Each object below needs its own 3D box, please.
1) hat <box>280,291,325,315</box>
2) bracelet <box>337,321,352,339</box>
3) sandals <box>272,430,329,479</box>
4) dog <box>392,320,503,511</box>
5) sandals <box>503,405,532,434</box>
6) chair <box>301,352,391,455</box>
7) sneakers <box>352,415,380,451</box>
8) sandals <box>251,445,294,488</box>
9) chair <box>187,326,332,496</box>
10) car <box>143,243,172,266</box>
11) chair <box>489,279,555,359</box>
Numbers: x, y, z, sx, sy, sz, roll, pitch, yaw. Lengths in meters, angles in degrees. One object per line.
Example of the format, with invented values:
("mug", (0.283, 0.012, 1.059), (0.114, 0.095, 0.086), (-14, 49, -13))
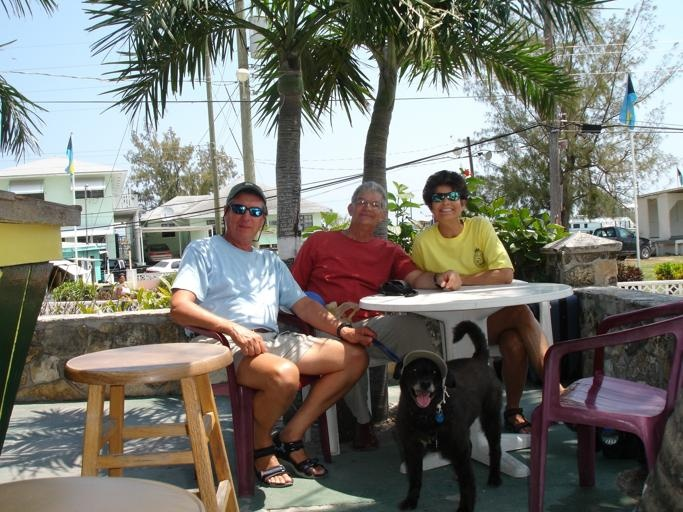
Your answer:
("hat", (-0.295, 0.344, 3.793), (0.196, 0.239, 0.180), (-2, 45, -30))
("bracelet", (0.012, 0.477, 3.471), (0.077, 0.047, 0.106), (28, 35, -11))
("sandals", (-0.296, 1.253, 3.315), (0.387, 0.179, 0.177), (14, 7, 29))
("dog", (0.617, 0.888, 2.984), (0.419, 0.971, 0.722), (0, 1, 37))
("sandals", (1.206, 1.158, 3.692), (0.100, 0.116, 0.305), (-1, -5, -10))
("chair", (0.054, 1.090, 4.238), (0.607, 1.099, 0.593), (1, 0, -17))
("sneakers", (0.189, 1.330, 3.900), (0.123, 0.244, 0.247), (-3, -12, 9))
("sandals", (-0.420, 1.266, 3.128), (0.129, 0.147, 0.348), (-2, 2, -30))
("chair", (-0.550, 0.991, 3.616), (0.855, 1.322, 1.065), (-5, 4, -31))
("car", (-14.279, -0.219, 40.534), (1.586, 1.394, 2.945), (-1, -3, -19))
("chair", (1.182, 0.432, 3.499), (0.417, 0.559, 0.380), (-13, 17, -13))
